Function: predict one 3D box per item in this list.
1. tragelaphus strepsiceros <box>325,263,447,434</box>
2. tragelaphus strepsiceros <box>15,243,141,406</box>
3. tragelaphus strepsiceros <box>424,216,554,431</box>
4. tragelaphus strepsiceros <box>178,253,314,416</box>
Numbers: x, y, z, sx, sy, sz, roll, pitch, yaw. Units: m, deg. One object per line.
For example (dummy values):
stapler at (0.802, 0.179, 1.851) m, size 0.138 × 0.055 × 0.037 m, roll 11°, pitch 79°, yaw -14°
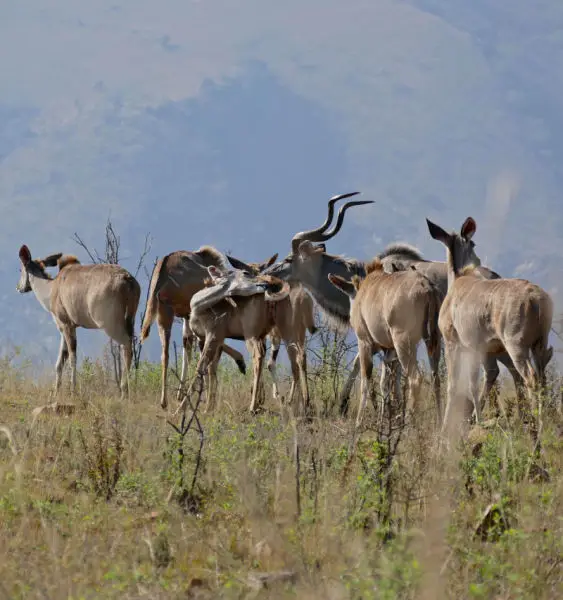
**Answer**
tragelaphus strepsiceros at (1.144, 0.450, 10.540) m, size 0.661 × 2.077 × 2.119 m, roll 1°, pitch -8°, yaw -23°
tragelaphus strepsiceros at (-2.953, 0.294, 13.431) m, size 2.035 × 2.289 × 0.740 m, roll -4°, pitch -5°, yaw 21°
tragelaphus strepsiceros at (2.011, 0.318, 9.624) m, size 0.544 × 2.237 × 2.375 m, roll 1°, pitch 0°, yaw -17°
tragelaphus strepsiceros at (-0.725, 0.398, 11.929) m, size 0.416 × 1.891 × 2.089 m, roll -13°, pitch -15°, yaw 29°
